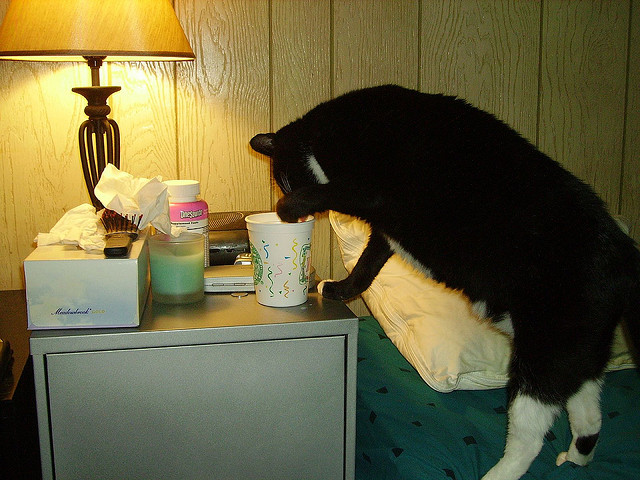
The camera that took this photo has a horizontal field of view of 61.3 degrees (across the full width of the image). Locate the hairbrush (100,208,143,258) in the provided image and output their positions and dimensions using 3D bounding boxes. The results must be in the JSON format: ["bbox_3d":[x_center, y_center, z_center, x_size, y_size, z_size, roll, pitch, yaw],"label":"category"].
[{"bbox_3d":[-0.387,-0.020,1.031,0.067,0.058,0.176,-5,17,-19],"label":"hairbrush"}]

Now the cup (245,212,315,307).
[{"bbox_3d":[-0.078,0.040,1.104,0.138,0.169,0.148,-1,2,0],"label":"cup"}]

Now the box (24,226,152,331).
[{"bbox_3d":[-0.438,0.068,1.036,0.203,0.145,0.195,-2,14,-7],"label":"box"}]

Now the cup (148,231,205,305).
[{"bbox_3d":[-0.277,0.049,1.130,0.120,0.146,0.130,1,8,0],"label":"cup"}]

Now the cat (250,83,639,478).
[{"bbox_3d":[0.203,0.073,1.304,0.596,0.784,0.733,2,21,4],"label":"cat"}]
